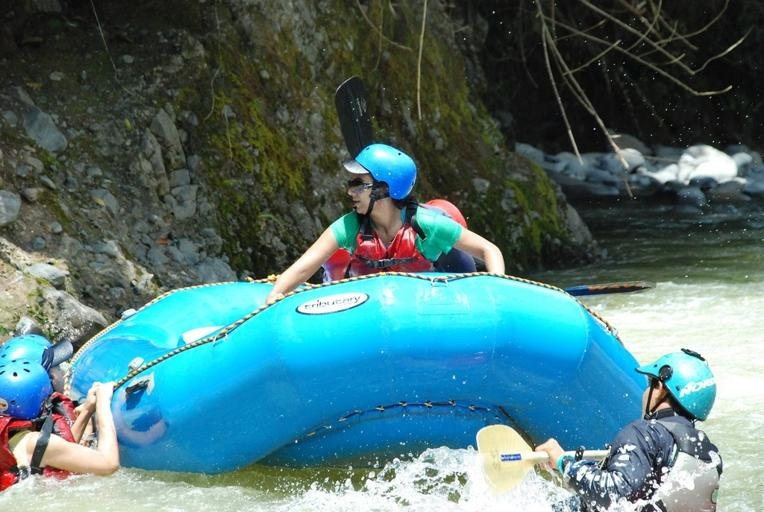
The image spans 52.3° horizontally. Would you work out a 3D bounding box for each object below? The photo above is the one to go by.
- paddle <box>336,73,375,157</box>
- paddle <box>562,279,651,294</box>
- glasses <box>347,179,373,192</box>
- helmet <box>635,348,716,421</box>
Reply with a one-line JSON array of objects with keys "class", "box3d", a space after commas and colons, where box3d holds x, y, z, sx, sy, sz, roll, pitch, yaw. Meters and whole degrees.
[{"class": "paddle", "box3d": [-0.263, -1.149, 6.779, 0.261, 0.816, 0.118, -11, -4, -25]}, {"class": "paddle", "box3d": [2.300, 0.314, 7.959, 1.005, 0.112, 0.152, -2, 9, 6]}, {"class": "glasses", "box3d": [-0.175, -0.525, 5.985, 0.128, 0.043, 0.112, 8, -9, -31]}, {"class": "helmet", "box3d": [1.931, 0.814, 5.159, 0.420, 0.437, 0.457, 12, -9, -6]}]
